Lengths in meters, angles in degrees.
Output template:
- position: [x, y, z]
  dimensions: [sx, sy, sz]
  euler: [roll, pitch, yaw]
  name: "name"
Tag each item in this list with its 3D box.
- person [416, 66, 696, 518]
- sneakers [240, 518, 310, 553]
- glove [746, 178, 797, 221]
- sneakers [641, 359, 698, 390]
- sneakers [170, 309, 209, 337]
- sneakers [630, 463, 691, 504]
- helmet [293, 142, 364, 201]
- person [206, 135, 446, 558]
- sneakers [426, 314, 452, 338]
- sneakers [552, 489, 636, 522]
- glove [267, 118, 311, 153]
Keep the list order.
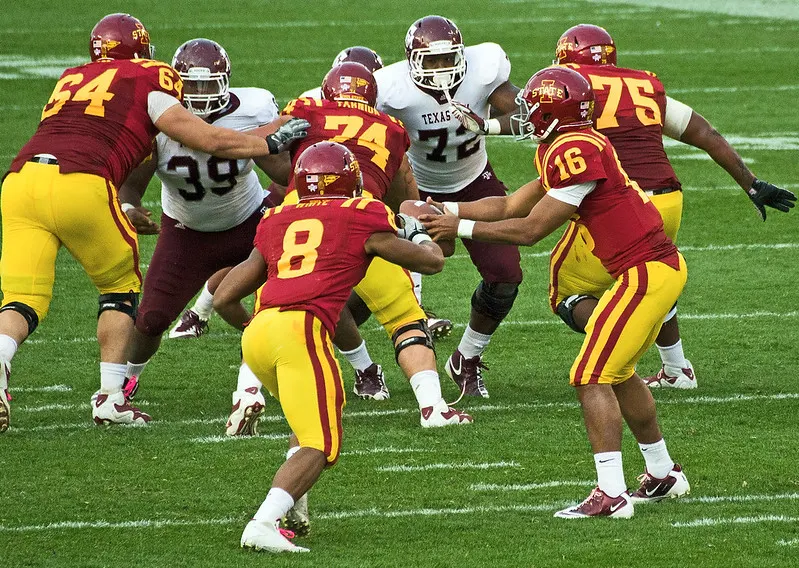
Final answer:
- position: [0.953, -0.013, 6.518]
  dimensions: [1.019, 2.089, 1.328]
  euler: [-9, 20, -37]
  name: "person"
- position: [-0.624, 1.162, 5.906]
  dimensions: [0.416, 0.168, 0.128]
  euler: [6, 3, -18]
  name: "sneakers"
- position: [2.330, -0.568, 7.833]
  dimensions: [0.297, 0.274, 0.088]
  euler: [37, 37, -23]
  name: "glove"
- position: [1.594, 0.561, 7.828]
  dimensions: [0.501, 0.195, 0.167]
  euler: [0, -7, 25]
  name: "sneakers"
- position: [-1.462, 0.281, 8.745]
  dimensions: [0.348, 0.151, 0.122]
  euler: [-8, 31, -30]
  name: "sneakers"
- position: [1.303, 1.030, 6.451]
  dimensions: [0.354, 0.143, 0.123]
  euler: [-21, -2, 21]
  name: "sneakers"
- position: [-0.366, -0.557, 6.347]
  dimensions: [0.314, 0.288, 0.396]
  euler: [-1, 5, 9]
  name: "helmet"
- position: [-0.355, 0.270, 6.307]
  dimensions: [1.215, 1.846, 1.313]
  euler: [0, 2, 0]
  name: "person"
- position: [0.286, 0.299, 8.777]
  dimensions: [0.124, 0.091, 0.249]
  euler: [39, 3, 10]
  name: "sneakers"
- position: [0.985, 1.090, 6.270]
  dimensions: [0.442, 0.156, 0.142]
  euler: [2, -3, 3]
  name: "sneakers"
- position: [-0.625, -0.822, 6.972]
  dimensions: [0.243, 0.135, 0.070]
  euler: [-27, -45, 27]
  name: "glove"
